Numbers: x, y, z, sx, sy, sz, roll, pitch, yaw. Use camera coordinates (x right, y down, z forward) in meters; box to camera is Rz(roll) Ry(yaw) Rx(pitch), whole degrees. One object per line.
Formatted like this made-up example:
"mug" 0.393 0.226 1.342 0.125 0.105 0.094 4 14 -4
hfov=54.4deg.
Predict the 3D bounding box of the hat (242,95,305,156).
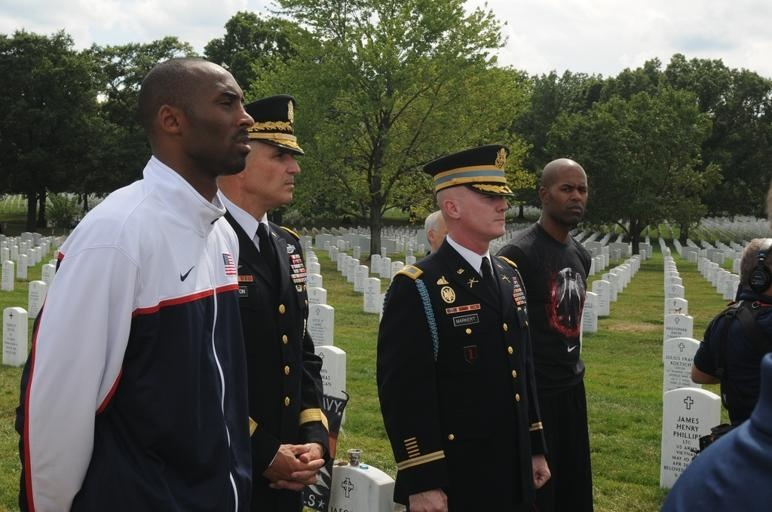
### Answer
"hat" -0.820 -0.890 5.069 0.552 0.329 0.396 4 8 12

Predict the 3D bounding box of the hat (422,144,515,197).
"hat" 0.605 -0.577 5.219 0.604 0.318 0.672 -3 4 -34

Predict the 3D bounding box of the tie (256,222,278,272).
"tie" -0.783 -0.048 4.907 0.098 0.388 0.103 -10 -38 -7
